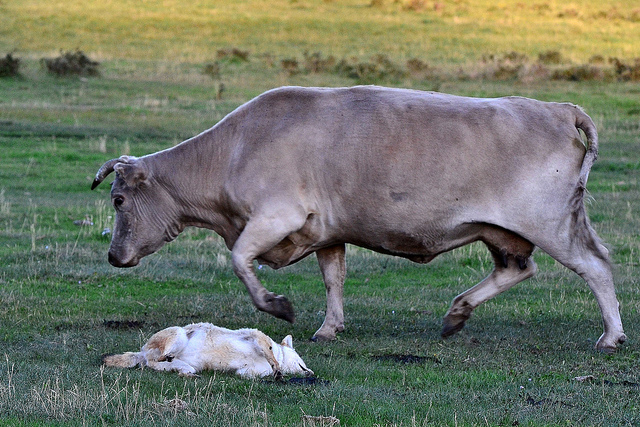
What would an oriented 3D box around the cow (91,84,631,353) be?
[{"bbox_3d":[0.724,0.220,30.775,11.054,5.587,2.716,-1,3,9],"label":"cow"}]
